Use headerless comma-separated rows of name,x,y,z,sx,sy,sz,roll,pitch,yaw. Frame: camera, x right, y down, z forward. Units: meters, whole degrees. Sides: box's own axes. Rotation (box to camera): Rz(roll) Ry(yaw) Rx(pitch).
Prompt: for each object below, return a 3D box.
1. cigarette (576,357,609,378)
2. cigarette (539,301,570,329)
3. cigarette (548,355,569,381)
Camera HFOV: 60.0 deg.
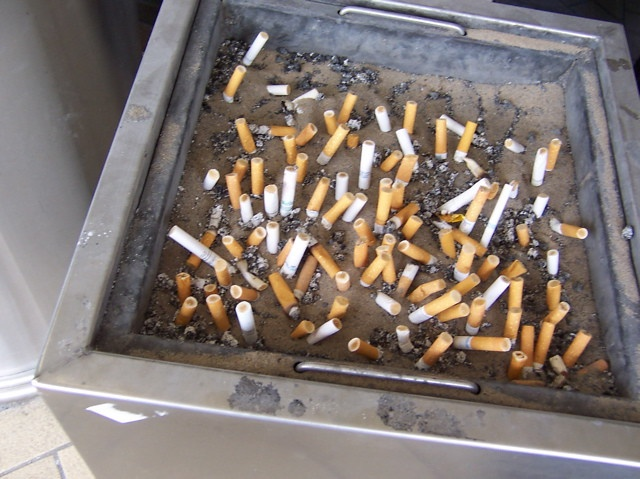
cigarette,0.547,0.254,1.099,0.093,0.021,0.022,-14,35,-7
cigarette,0.484,0.156,1.138,0.021,0.071,0.018,33,70,0
cigarette,0.473,0.248,1.094,0.026,0.013,0.038,-29,70,20
